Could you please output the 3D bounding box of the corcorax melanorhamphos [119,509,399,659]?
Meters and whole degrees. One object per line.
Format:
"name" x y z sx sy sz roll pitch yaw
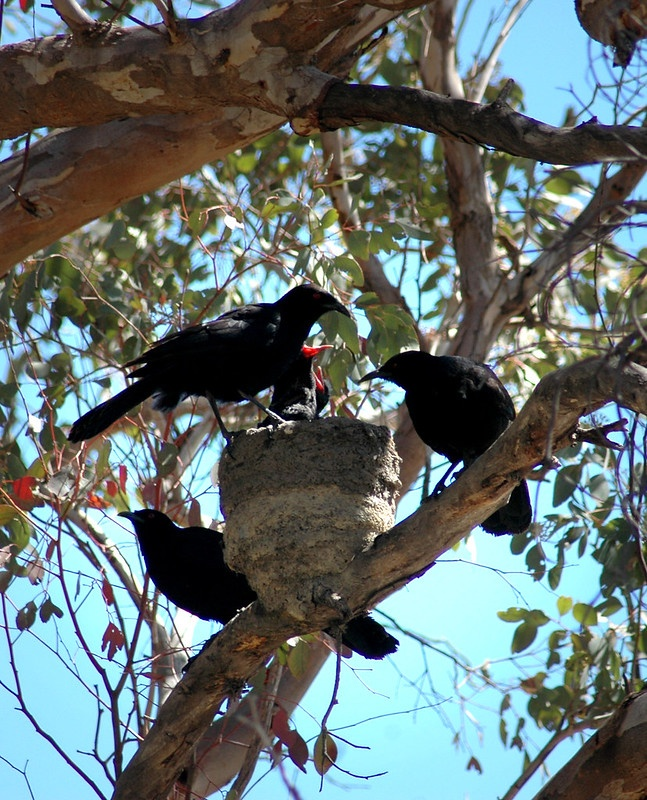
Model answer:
"corcorax melanorhamphos" -0.400 0.770 7.395 1.209 0.529 0.409 -1 4 39

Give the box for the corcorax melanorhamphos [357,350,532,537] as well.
"corcorax melanorhamphos" 0.575 0.151 7.523 0.917 0.638 0.493 18 -25 -31

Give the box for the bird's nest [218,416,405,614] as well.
"bird's nest" -0.186 0.487 7.178 0.972 0.940 0.872 2 -10 0

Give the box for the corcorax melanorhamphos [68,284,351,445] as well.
"corcorax melanorhamphos" -0.516 -0.204 7.704 1.307 0.666 0.400 -4 -15 5
